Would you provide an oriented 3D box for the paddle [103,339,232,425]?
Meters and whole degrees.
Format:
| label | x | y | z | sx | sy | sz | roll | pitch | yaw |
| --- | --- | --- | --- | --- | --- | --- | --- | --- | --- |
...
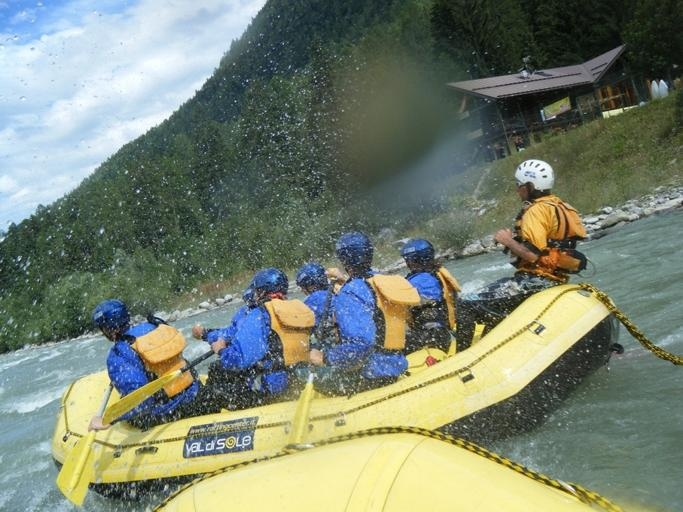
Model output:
| label | x | y | z | sx | sy | sz | roll | pitch | yaw |
| --- | --- | --- | --- | --- | --- | --- | --- | --- | --- |
| paddle | -2.039 | 1.518 | 7.511 | 0.135 | 0.245 | 1.754 | 27 | 46 | 29 |

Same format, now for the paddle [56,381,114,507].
| label | x | y | z | sx | sy | sz | roll | pitch | yaw |
| --- | --- | --- | --- | --- | --- | --- | --- | --- | --- |
| paddle | -2.858 | 2.068 | 7.374 | 0.387 | 0.165 | 1.592 | 16 | 57 | -8 |

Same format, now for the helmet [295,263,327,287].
| label | x | y | z | sx | sy | sz | roll | pitch | yaw |
| --- | --- | --- | --- | --- | --- | --- | --- | --- | --- |
| helmet | -0.407 | 0.230 | 8.389 | 0.271 | 0.339 | 0.345 | -4 | 16 | -30 |

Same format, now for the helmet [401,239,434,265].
| label | x | y | z | sx | sy | sz | roll | pitch | yaw |
| --- | --- | --- | --- | --- | --- | --- | --- | --- | --- |
| helmet | 0.942 | -0.040 | 7.821 | 0.333 | 0.334 | 0.264 | 4 | 8 | 39 |

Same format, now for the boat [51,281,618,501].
| label | x | y | z | sx | sy | sz | roll | pitch | yaw |
| --- | --- | --- | --- | --- | --- | --- | --- | --- | --- |
| boat | 0.117 | 1.719 | 7.363 | 5.312 | 1.340 | 2.889 | -13 | -9 | 4 |

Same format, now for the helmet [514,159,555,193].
| label | x | y | z | sx | sy | sz | roll | pitch | yaw |
| --- | --- | --- | --- | --- | --- | --- | --- | --- | --- |
| helmet | 2.415 | -0.987 | 7.951 | 0.439 | 0.380 | 0.349 | -3 | 24 | 25 |

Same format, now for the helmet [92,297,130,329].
| label | x | y | z | sx | sy | sz | roll | pitch | yaw |
| --- | --- | --- | --- | --- | --- | --- | --- | --- | --- |
| helmet | -2.791 | 0.721 | 7.712 | 0.385 | 0.343 | 0.306 | 26 | 23 | 32 |

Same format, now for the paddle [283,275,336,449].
| label | x | y | z | sx | sy | sz | roll | pitch | yaw |
| --- | --- | --- | --- | --- | --- | --- | --- | --- | --- |
| paddle | -0.345 | 1.241 | 7.079 | 0.343 | 0.301 | 2.116 | 9 | 46 | 8 |

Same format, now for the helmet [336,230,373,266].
| label | x | y | z | sx | sy | sz | roll | pitch | yaw |
| --- | --- | --- | --- | --- | --- | --- | --- | --- | --- |
| helmet | 0.134 | -0.100 | 7.461 | 0.320 | 0.415 | 0.415 | -9 | 19 | -25 |
